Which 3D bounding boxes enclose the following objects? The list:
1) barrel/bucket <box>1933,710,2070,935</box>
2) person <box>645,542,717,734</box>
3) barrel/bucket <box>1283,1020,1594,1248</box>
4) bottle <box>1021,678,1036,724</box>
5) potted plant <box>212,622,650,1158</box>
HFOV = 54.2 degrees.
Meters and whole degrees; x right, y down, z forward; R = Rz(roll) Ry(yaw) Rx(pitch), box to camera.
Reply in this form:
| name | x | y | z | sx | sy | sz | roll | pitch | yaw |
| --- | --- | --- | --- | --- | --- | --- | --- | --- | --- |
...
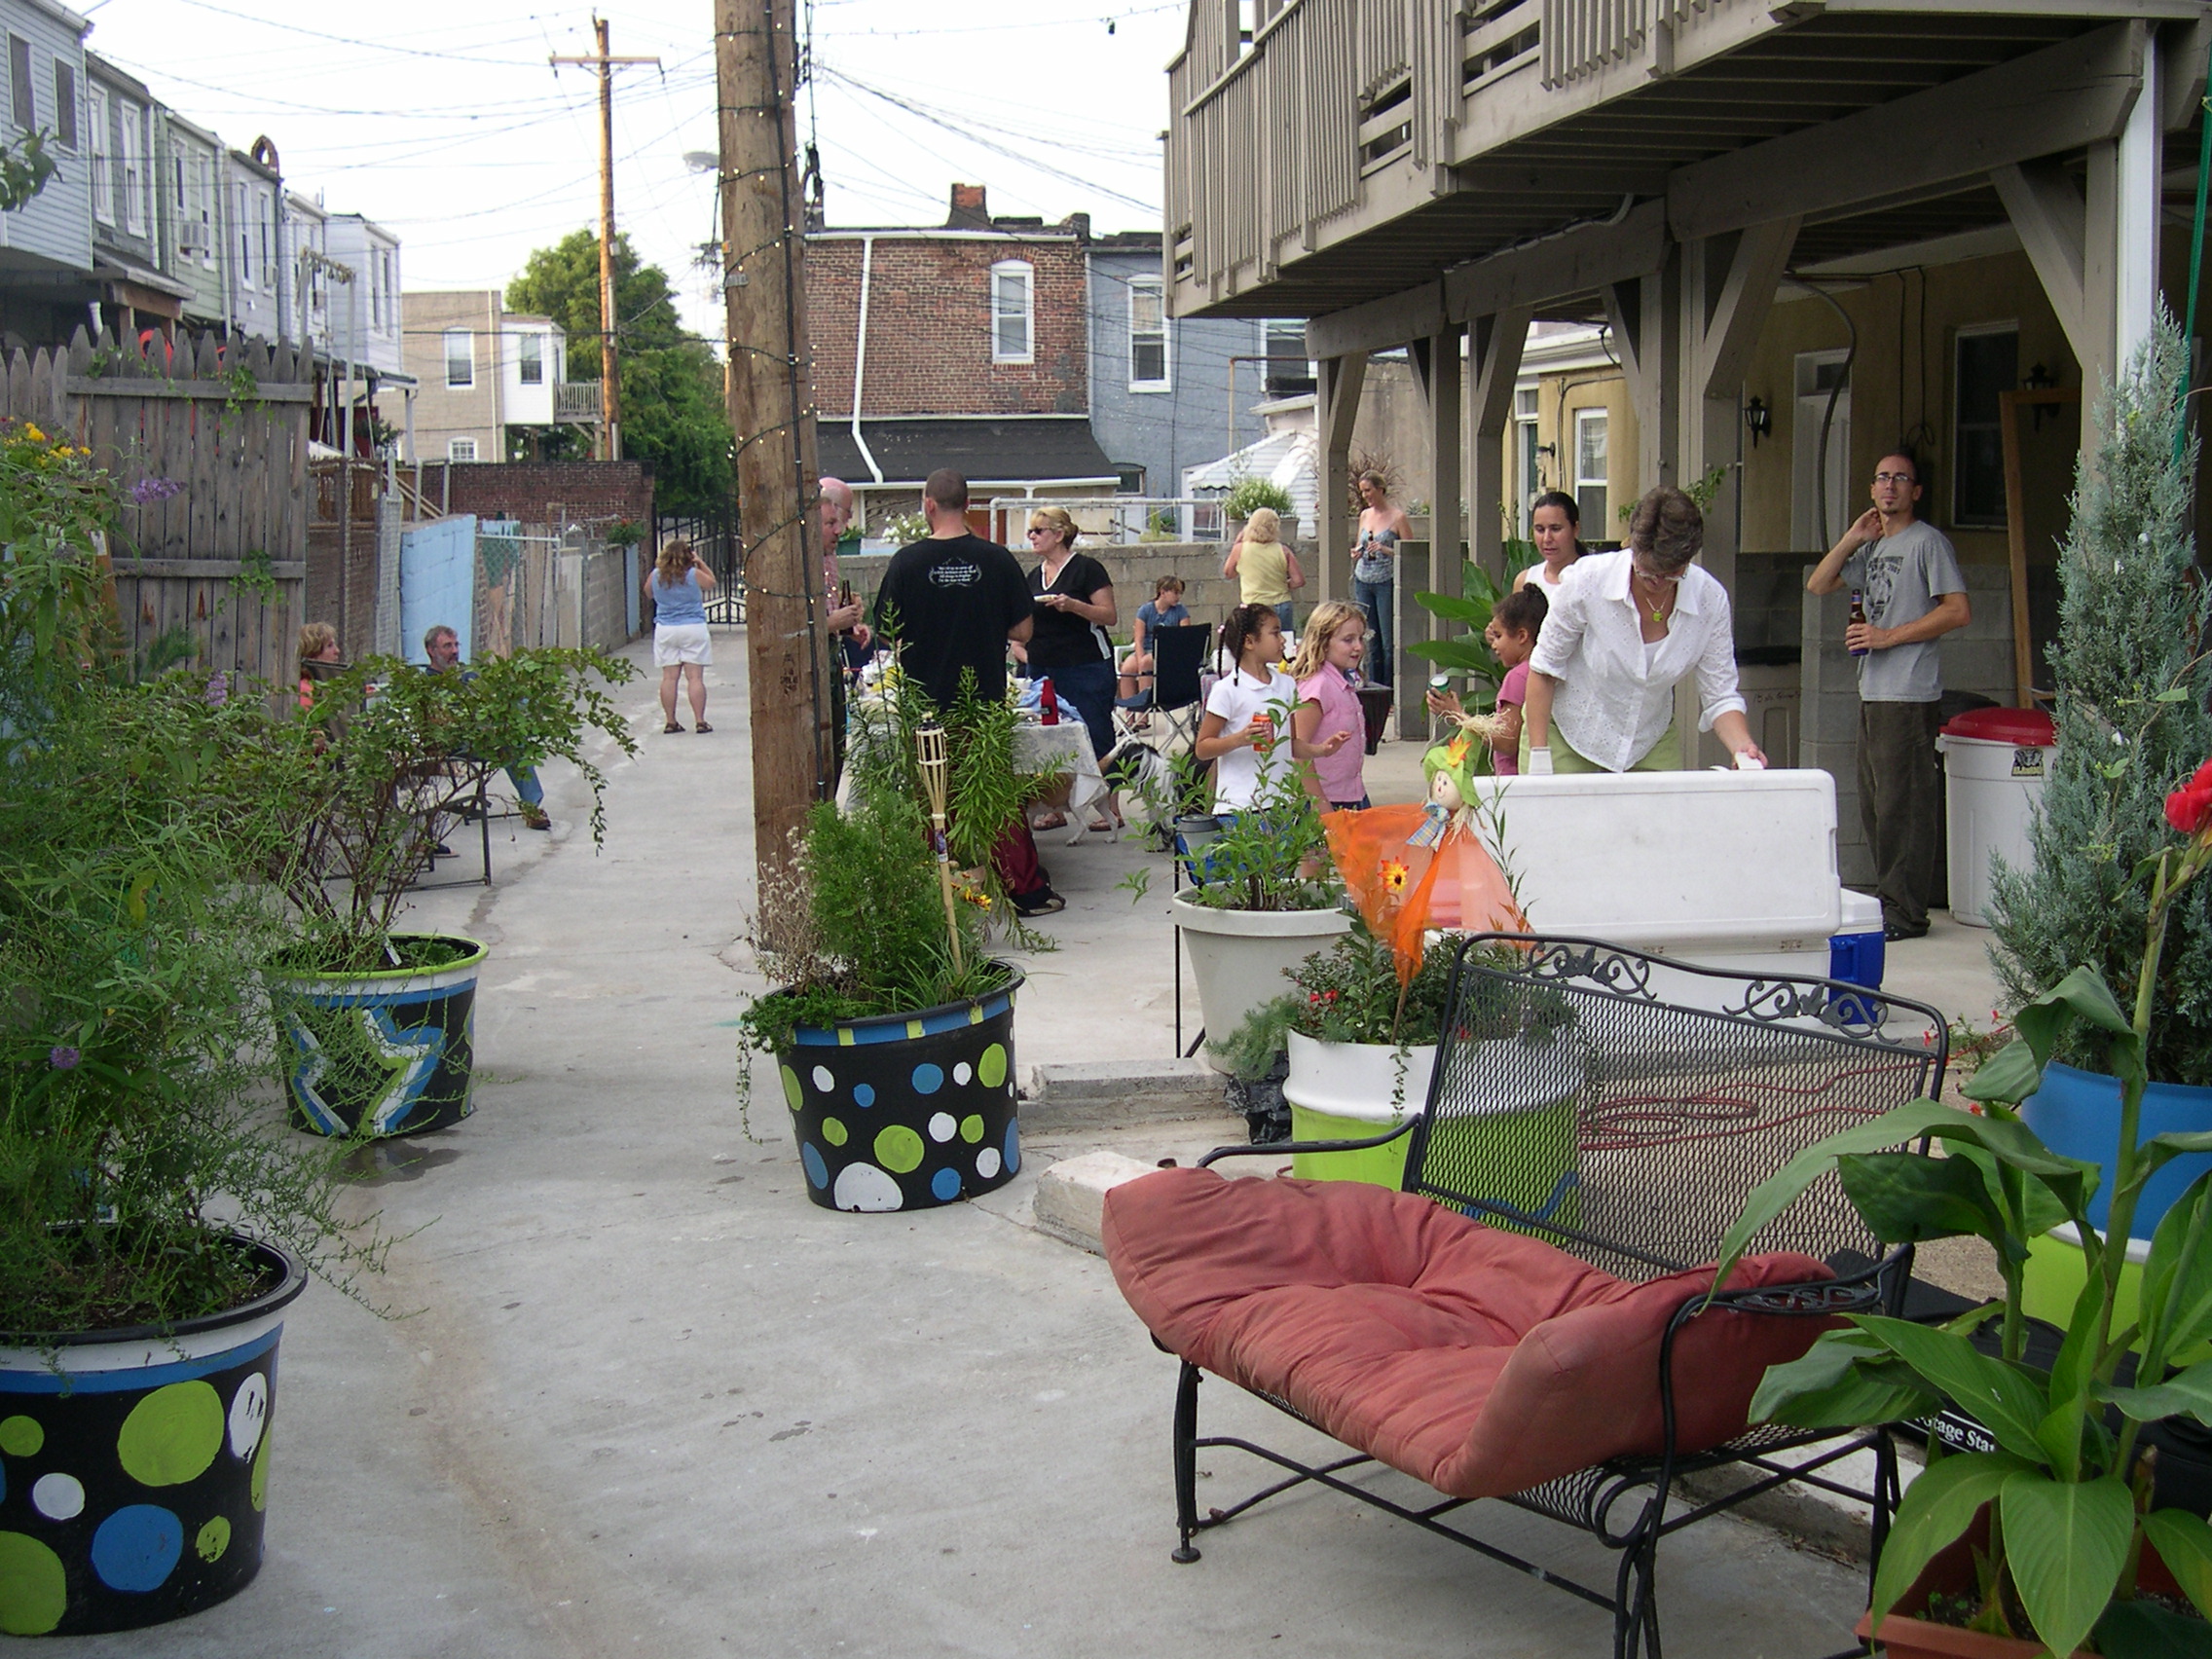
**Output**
| name | x | y | z | sx | sy | sz | roll | pitch | yaw |
| --- | --- | --- | --- | --- | --- | --- | --- | --- | --- |
| barrel/bucket | 3.957 | -0.111 | 9.513 | 0.666 | 0.986 | 0.600 | -6 | 23 | 10 |
| person | -4.089 | -1.850 | 20.805 | 0.511 | 1.818 | 3.515 | -2 | 6 | -11 |
| barrel/bucket | 0.849 | 0.706 | 5.411 | 0.432 | 0.542 | 0.483 | 1 | 3 | 24 |
| bottle | -0.415 | -0.676 | 11.529 | 0.067 | 0.236 | 0.151 | 3 | 3 | -10 |
| potted plant | -2.747 | 0.265 | 7.737 | 1.136 | 1.745 | 1.427 | -12 | -5 | 33 |
